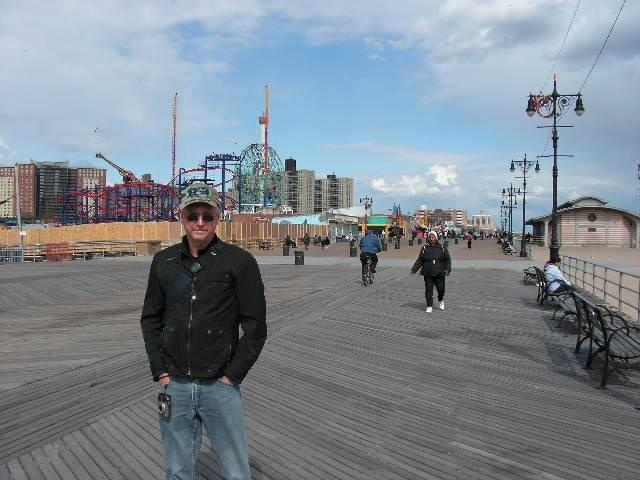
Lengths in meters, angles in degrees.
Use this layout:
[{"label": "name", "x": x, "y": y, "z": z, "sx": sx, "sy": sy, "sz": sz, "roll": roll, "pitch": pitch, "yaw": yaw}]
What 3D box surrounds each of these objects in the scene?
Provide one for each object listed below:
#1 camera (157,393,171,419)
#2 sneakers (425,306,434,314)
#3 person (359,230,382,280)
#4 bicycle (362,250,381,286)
[{"label": "camera", "x": -1.151, "y": 1.221, "z": 4.122, "sx": 0.092, "sy": 0.195, "sz": 0.069, "roll": 3, "pitch": 5, "yaw": 40}, {"label": "sneakers", "x": 2.408, "y": 1.534, "z": 12.387, "sx": 0.109, "sy": 0.130, "sz": 0.327, "roll": -2, "pitch": -8, "yaw": 18}, {"label": "person", "x": 1.530, "y": 0.384, "z": 17.228, "sx": 0.600, "sy": 1.363, "sz": 1.091, "roll": 0, "pitch": 4, "yaw": 5}, {"label": "bicycle", "x": 1.549, "y": 0.909, "z": 17.173, "sx": 0.464, "sy": 0.557, "sz": 0.953, "roll": 2, "pitch": 9, "yaw": 9}]
